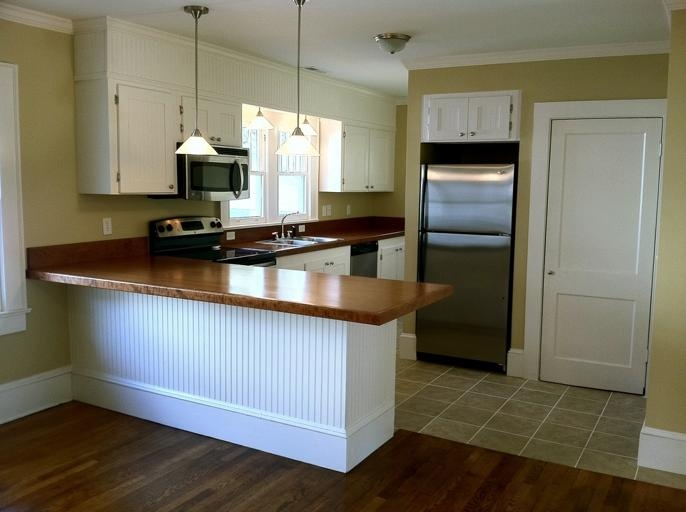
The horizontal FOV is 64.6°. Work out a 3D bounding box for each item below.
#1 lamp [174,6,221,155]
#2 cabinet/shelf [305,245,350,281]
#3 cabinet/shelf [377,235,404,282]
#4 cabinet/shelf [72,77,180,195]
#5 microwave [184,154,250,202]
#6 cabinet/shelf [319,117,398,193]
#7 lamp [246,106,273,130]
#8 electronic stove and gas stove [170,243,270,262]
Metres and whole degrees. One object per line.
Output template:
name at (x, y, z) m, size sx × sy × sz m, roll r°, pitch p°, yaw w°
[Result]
lamp at (-1.086, -1.252, 3.998) m, size 0.310 × 1.022 × 1.288 m, roll -2°, pitch 11°, yaw -16°
cabinet/shelf at (-0.149, 0.050, 5.755) m, size 0.288 × 0.313 × 0.506 m, roll 10°, pitch 12°, yaw 42°
cabinet/shelf at (0.562, 0.029, 6.575) m, size 0.308 × 0.512 × 0.531 m, roll 5°, pitch 7°, yaw 39°
cabinet/shelf at (-1.648, -0.912, 4.202) m, size 0.788 × 0.863 × 0.324 m, roll -4°, pitch 12°, yaw -25°
microwave at (-1.107, -0.675, 4.757) m, size 0.389 × 0.374 × 0.588 m, roll 1°, pitch 4°, yaw 22°
cabinet/shelf at (0.181, -1.253, 6.885) m, size 0.370 × 0.872 × 1.145 m, roll 10°, pitch 14°, yaw 39°
lamp at (-0.764, -1.260, 4.981) m, size 0.184 × 0.177 × 0.387 m, roll 0°, pitch 11°, yaw -5°
electronic stove and gas stove at (-1.059, 0.000, 4.862) m, size 0.533 × 0.130 × 0.748 m, roll 9°, pitch 13°, yaw 34°
